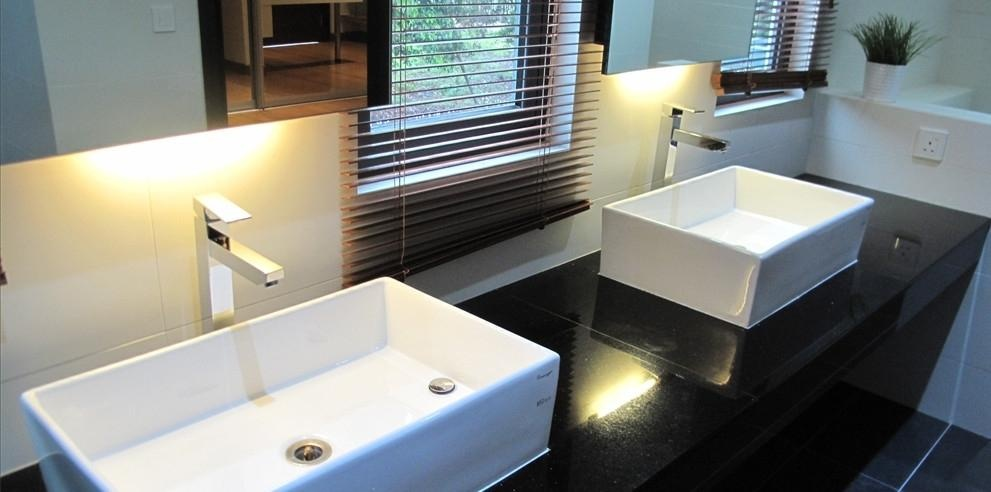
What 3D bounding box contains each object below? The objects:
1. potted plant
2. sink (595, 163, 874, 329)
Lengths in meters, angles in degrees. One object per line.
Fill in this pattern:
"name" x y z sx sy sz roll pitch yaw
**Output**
"potted plant" 2.106 -0.982 3.353 0.337 0.360 0.428 -1 22 0
"sink" 1.008 -0.030 2.632 0.970 0.401 0.622 -20 31 -35
